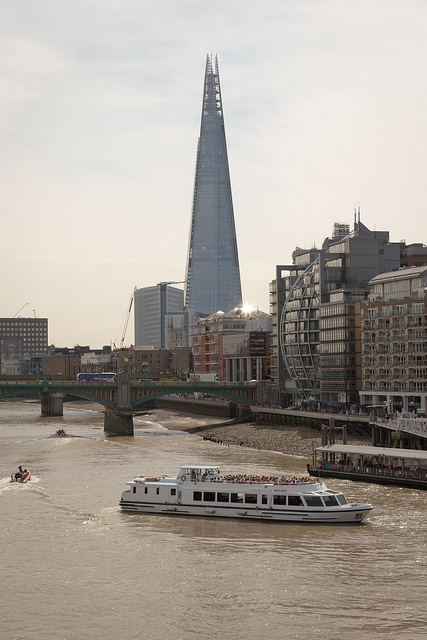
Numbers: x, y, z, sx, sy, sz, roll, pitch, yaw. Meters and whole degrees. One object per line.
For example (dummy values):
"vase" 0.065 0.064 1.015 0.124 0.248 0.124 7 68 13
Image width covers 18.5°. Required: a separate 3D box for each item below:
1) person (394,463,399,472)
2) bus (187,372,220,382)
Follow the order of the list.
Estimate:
"person" 13.969 11.145 100.573 0.332 0.501 1.321 0 -5 8
"bus" -2.168 11.603 271.172 2.964 2.527 28.608 1 -5 -8
